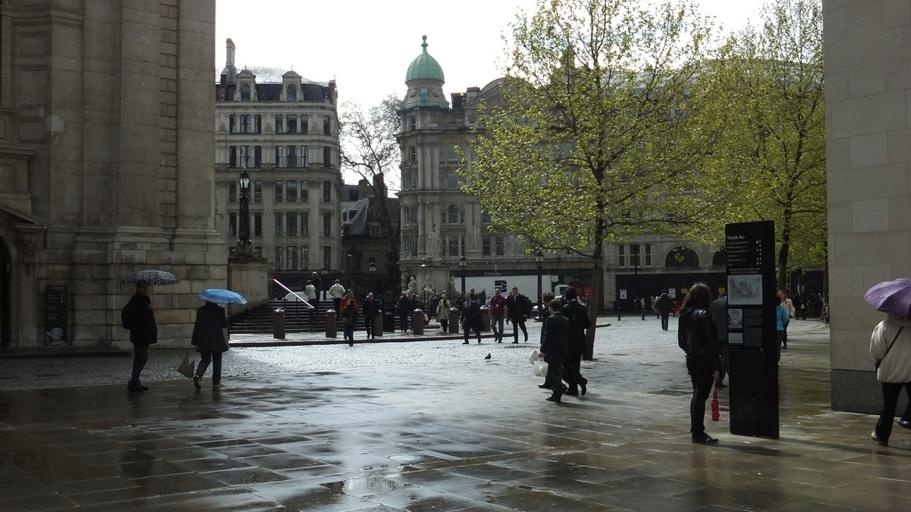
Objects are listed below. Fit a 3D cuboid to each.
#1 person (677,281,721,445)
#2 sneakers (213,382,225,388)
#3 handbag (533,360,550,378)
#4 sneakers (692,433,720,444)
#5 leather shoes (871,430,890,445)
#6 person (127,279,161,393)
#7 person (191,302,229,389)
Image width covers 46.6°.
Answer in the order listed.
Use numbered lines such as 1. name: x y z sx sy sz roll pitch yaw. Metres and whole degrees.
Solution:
1. person: 5.724 2.487 24.876 0.896 3.657 0.832 0 -2 4
2. sneakers: -6.621 3.592 29.614 0.188 0.109 0.400 -1 -2 16
3. handbag: 2.373 3.040 28.683 0.478 0.426 0.450 5 -8 -44
4. sneakers: 5.853 4.212 24.465 0.736 0.265 0.229 1 -3 -2
5. leather shoes: 9.784 4.173 24.445 0.166 0.164 0.412 -6 13 -9
6. person: -8.811 2.211 29.403 0.857 3.012 1.106 0 -2 -17
7. person: -6.976 2.478 30.090 0.969 2.403 1.495 0 -2 -13
